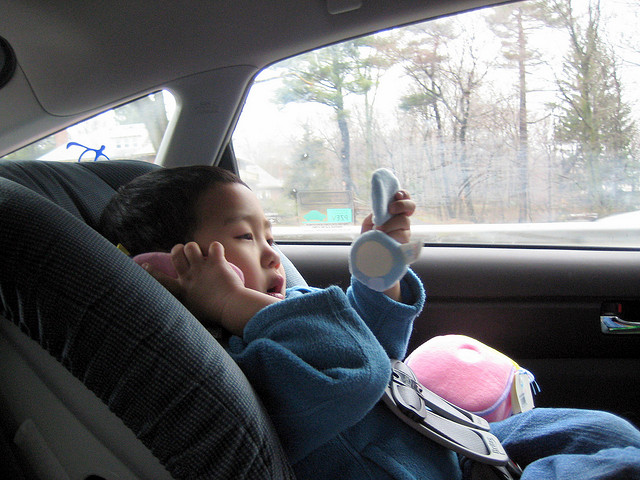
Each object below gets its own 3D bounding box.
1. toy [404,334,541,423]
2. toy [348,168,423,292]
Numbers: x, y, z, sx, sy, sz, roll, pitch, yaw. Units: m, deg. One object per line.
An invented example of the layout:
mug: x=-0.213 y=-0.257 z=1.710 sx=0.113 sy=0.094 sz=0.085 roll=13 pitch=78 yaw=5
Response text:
toy: x=0.410 y=0.384 z=1.363 sx=0.340 sy=0.190 sz=0.206 roll=1 pitch=7 yaw=21
toy: x=0.146 y=-0.013 z=1.148 sx=0.155 sy=0.304 sz=0.149 roll=-2 pitch=6 yaw=-1
